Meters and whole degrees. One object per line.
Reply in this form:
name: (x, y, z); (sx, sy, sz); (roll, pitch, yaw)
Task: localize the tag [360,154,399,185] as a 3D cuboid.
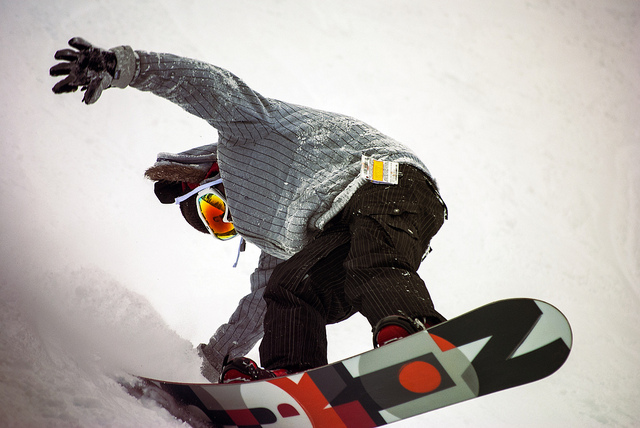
tag: (0.334, -0.255, 3.857); (0.186, 0.137, 0.046); (14, -10, -2)
